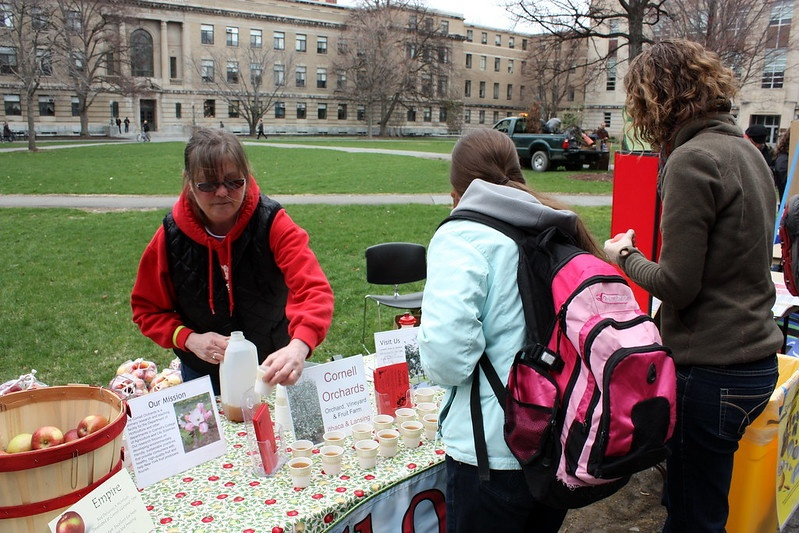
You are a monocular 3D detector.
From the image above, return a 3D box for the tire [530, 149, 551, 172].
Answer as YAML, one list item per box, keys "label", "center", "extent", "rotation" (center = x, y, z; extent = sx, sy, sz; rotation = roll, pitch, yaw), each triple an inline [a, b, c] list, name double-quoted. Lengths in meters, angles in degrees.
- label: "tire"
  center: [5.116, -3.763, 19.818]
  extent: [0.265, 0.770, 0.721]
  rotation: [-5, 10, -34]

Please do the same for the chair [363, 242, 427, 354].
- label: "chair"
  center: [0.062, 0.492, 5.856]
  extent: [0.844, 1.377, 0.906]
  rotation: [-1, 7, -6]

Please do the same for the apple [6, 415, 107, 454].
- label: "apple"
  center: [-1.336, 0.655, 2.140]
  extent: [0.202, 0.083, 0.203]
  rotation: [-7, 15, -21]

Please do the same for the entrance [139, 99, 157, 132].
- label: "entrance"
  center: [-22.505, -13.498, 49.752]
  extent: [1.326, 2.708, 0.950]
  rotation: [-6, 16, -28]

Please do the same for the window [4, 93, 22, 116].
- label: "window"
  center: [-30.969, -12.887, 44.229]
  extent: [0.197, 1.861, 1.505]
  rotation: [16, 20, 36]

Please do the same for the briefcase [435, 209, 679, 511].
- label: "briefcase"
  center: [0.716, 0.395, 2.559]
  extent: [0.760, 1.132, 1.142]
  rotation: [-2, 11, -17]

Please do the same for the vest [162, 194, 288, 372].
- label: "vest"
  center: [-0.964, 0.075, 3.042]
  extent: [0.665, 0.953, 0.507]
  rotation: [-11, 27, -8]
